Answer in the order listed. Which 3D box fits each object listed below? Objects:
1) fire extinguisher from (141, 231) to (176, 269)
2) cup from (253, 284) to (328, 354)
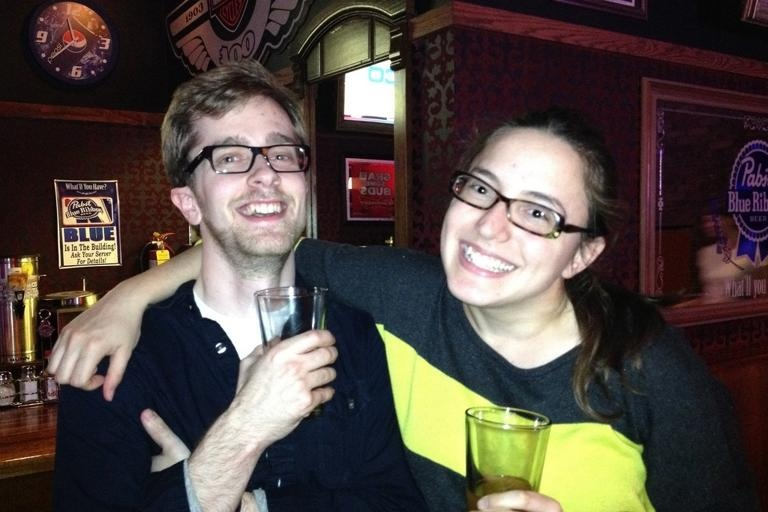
[{"bbox_3d":[-2.369,-0.061,6.191,0.375,0.455,0.400,-1,7,-7],"label":"fire extinguisher"},{"bbox_3d":[-0.396,0.248,2.450,0.269,0.273,0.270,-2,-1,0],"label":"cup"}]
